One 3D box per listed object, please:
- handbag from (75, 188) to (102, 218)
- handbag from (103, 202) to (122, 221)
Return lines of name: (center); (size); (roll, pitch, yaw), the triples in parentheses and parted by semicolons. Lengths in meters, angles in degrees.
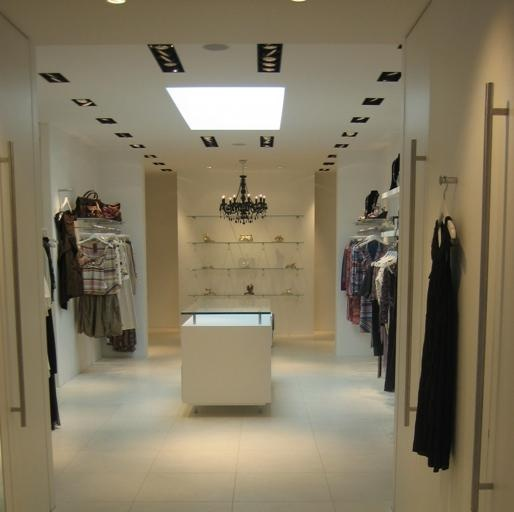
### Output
handbag: (-2.058, -0.644, 5.302); (0.211, 0.416, 0.400); (8, 8, 30)
handbag: (-1.868, -0.564, 5.559); (0.115, 0.231, 0.343); (0, 0, 13)
